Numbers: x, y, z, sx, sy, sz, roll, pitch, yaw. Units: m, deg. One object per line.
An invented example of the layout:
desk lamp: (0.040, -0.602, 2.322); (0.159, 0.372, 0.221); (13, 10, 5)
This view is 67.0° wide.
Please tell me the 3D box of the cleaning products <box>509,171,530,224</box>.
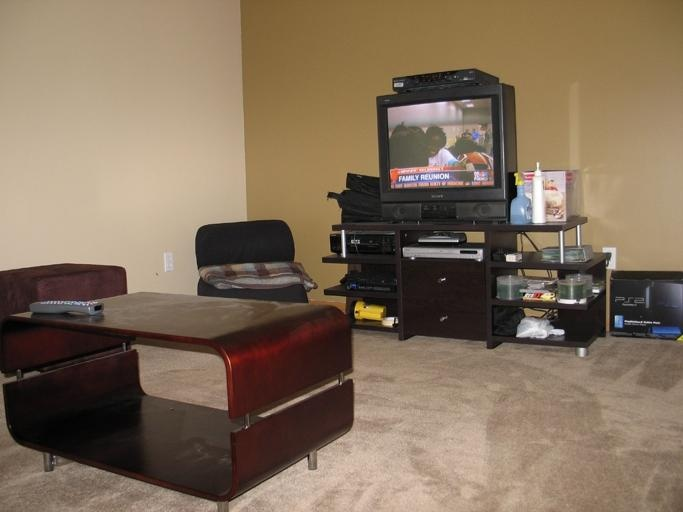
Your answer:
cleaning products: (1.053, -0.341, 3.028); (0.126, 0.287, 0.105); (-5, 9, -12)

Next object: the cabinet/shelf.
cabinet/shelf: (0.805, 0.137, 3.359); (1.633, 0.758, 0.673); (1, 9, 24)

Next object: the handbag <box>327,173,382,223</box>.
handbag: (0.111, -0.392, 3.550); (0.379, 0.272, 0.132); (2, -10, 7)

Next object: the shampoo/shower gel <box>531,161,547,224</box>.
shampoo/shower gel: (1.146, -0.363, 3.019); (0.078, 0.327, 0.263); (1, 9, 20)

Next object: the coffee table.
coffee table: (-0.593, 0.476, 1.838); (1.083, 0.602, 0.698); (3, 10, 31)

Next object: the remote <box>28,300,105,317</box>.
remote: (-0.942, 0.177, 1.781); (0.191, 0.036, 0.099); (2, 2, 10)

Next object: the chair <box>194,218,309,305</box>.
chair: (-0.689, 0.072, 3.765); (0.779, 0.636, 0.726); (-5, 7, -6)

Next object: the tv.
tv: (0.652, -0.631, 3.128); (0.953, 0.879, 0.529); (1, 6, 22)
